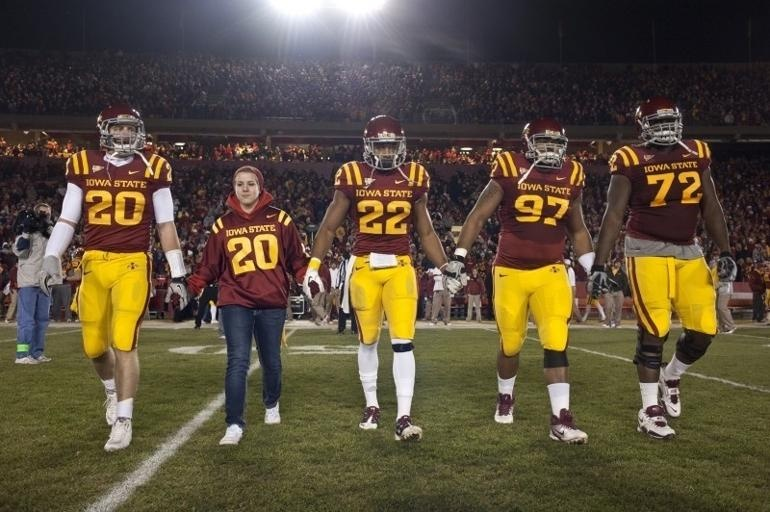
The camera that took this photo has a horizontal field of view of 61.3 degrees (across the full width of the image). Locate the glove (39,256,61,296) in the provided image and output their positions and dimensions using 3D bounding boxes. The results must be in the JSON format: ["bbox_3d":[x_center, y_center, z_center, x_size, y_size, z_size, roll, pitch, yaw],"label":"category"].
[{"bbox_3d":[-2.902,0.145,5.736,0.141,0.336,0.335,-2,-36,-27],"label":"glove"}]

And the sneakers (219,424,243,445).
[{"bbox_3d":[-1.288,1.477,5.475,0.186,0.139,0.243,0,4,-10],"label":"sneakers"}]

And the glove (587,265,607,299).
[{"bbox_3d":[1.934,0.234,5.939,0.166,0.315,0.209,1,-15,15],"label":"glove"}]

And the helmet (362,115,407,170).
[{"bbox_3d":[0.010,-1.109,6.110,0.422,0.427,0.555,-3,21,-2],"label":"helmet"}]

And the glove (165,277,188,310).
[{"bbox_3d":[-1.778,0.332,5.790,0.270,0.267,0.123,15,6,20],"label":"glove"}]

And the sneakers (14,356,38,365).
[{"bbox_3d":[-4.744,1.371,8.644,0.308,0.134,0.110,-3,-5,3],"label":"sneakers"}]

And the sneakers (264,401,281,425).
[{"bbox_3d":[-1.018,1.435,5.913,0.095,0.104,0.251,0,-1,-2],"label":"sneakers"}]

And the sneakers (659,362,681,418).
[{"bbox_3d":[2.753,1.282,6.231,0.162,0.481,0.222,-4,-21,1],"label":"sneakers"}]

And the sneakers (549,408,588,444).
[{"bbox_3d":[1.539,1.431,5.476,0.157,0.258,0.437,2,-7,-16],"label":"sneakers"}]

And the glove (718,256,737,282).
[{"bbox_3d":[3.217,0.121,6.138,0.168,0.222,0.156,5,10,30],"label":"glove"}]

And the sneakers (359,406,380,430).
[{"bbox_3d":[-0.137,1.435,5.855,0.181,0.163,0.272,0,3,-3],"label":"sneakers"}]

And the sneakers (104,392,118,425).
[{"bbox_3d":[-2.478,1.380,5.900,0.119,0.336,0.142,-6,-15,-28],"label":"sneakers"}]

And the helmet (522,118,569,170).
[{"bbox_3d":[1.450,-1.050,6.053,0.411,0.436,0.467,0,4,-38],"label":"helmet"}]

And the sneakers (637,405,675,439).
[{"bbox_3d":[2.361,1.434,5.683,0.208,0.248,0.571,-4,-2,3],"label":"sneakers"}]

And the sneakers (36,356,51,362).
[{"bbox_3d":[-4.612,1.380,8.779,0.197,0.080,0.072,-1,-1,7],"label":"sneakers"}]

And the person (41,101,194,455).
[{"bbox_3d":[-2.344,0.093,5.727,1.086,2.870,0.850,2,4,33],"label":"person"}]

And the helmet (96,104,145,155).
[{"bbox_3d":[-2.347,-1.103,5.920,0.390,0.413,0.499,-3,-6,-16],"label":"helmet"}]

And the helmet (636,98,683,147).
[{"bbox_3d":[2.480,-1.265,6.096,0.330,0.342,0.432,-11,13,-32],"label":"helmet"}]

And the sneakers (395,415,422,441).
[{"bbox_3d":[0.222,1.462,5.532,0.121,0.142,0.294,7,-19,-27],"label":"sneakers"}]

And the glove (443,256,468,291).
[{"bbox_3d":[0.645,0.174,5.997,0.205,0.268,0.127,-2,3,5],"label":"glove"}]

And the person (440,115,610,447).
[{"bbox_3d":[1.308,0.131,5.879,1.111,2.773,0.937,1,3,16],"label":"person"}]
